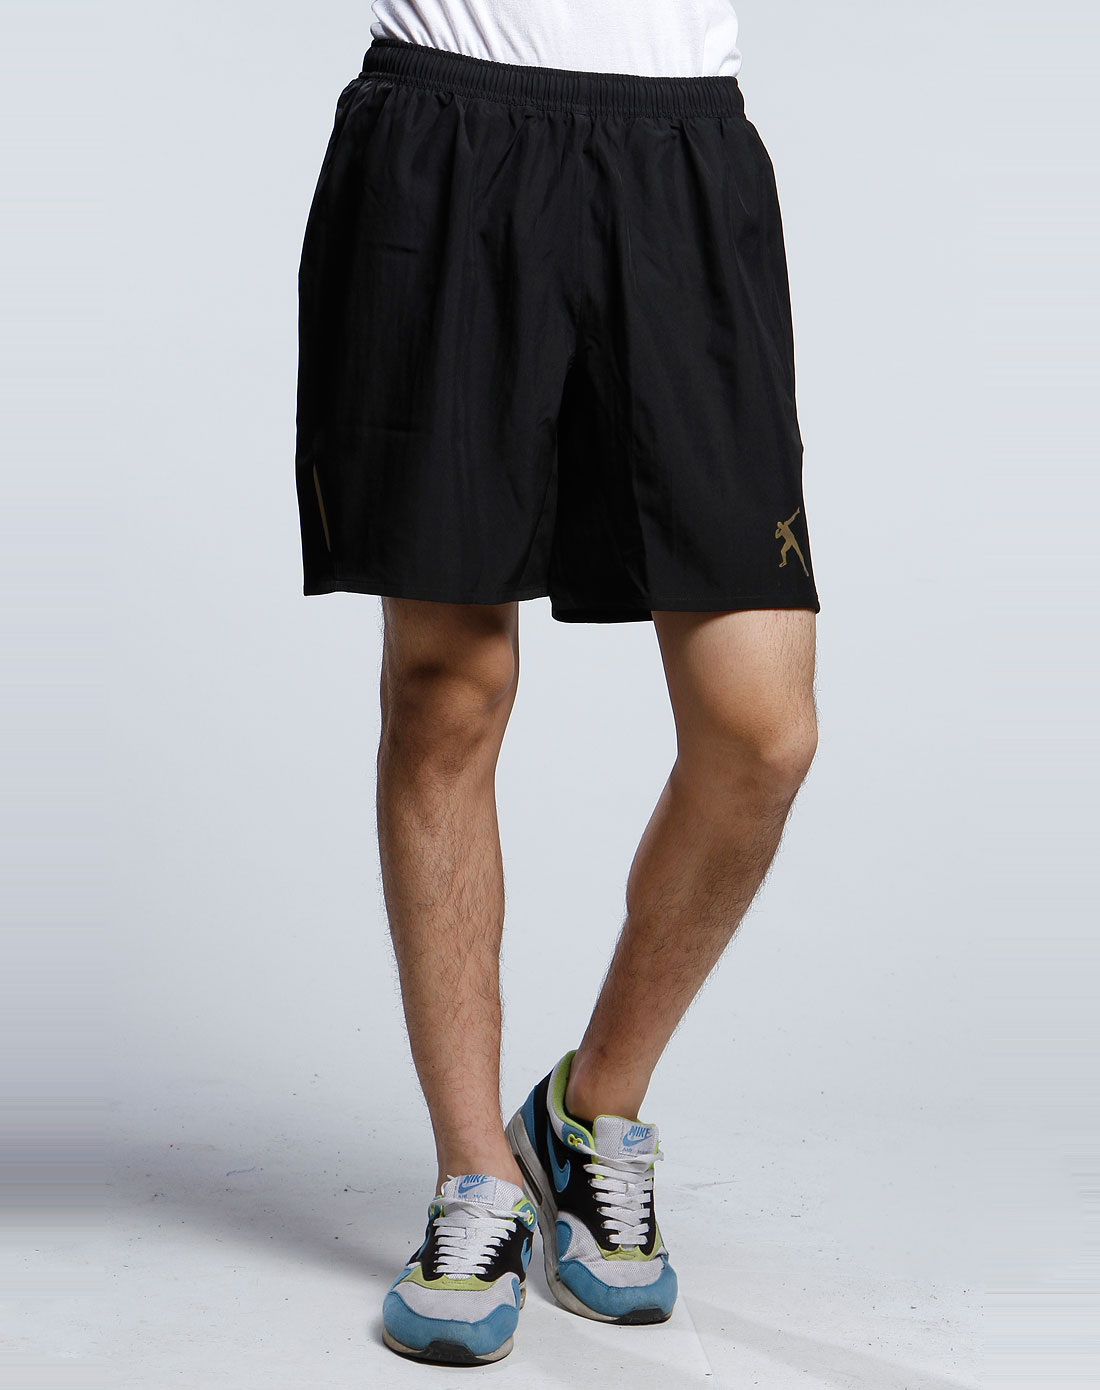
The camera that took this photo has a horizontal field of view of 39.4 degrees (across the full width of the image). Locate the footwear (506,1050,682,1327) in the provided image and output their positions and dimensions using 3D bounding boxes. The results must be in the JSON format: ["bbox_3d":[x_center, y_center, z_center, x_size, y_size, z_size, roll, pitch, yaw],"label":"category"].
[{"bbox_3d":[0.026,0.477,1.532,0.102,0.118,0.273,6,30,-29],"label":"footwear"}]

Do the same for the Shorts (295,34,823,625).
[{"bbox_3d":[0.039,-0.342,1.441,0.524,0.458,0.279,5,12,10],"label":"Shorts"}]

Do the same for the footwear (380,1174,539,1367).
[{"bbox_3d":[-0.074,0.527,1.429,0.111,0.120,0.284,0,-2,7],"label":"footwear"}]
